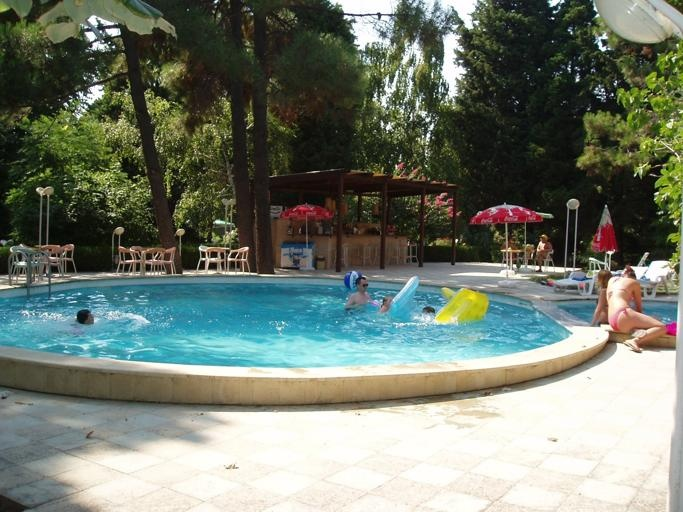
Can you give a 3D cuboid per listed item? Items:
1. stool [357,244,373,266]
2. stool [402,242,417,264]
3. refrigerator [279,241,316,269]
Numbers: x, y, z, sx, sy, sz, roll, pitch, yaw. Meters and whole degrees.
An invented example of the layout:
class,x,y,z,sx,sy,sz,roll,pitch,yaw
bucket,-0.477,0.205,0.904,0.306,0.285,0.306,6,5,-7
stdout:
class,x,y,z,sx,sy,sz,roll,pitch,yaw
stool,0.994,-0.014,20.842,0.276,0.725,0.914,2,4,36
stool,3.006,-0.090,24.385,0.867,1.257,0.874,0,2,8
refrigerator,-1.476,-0.030,19.323,1.406,1.260,0.803,2,4,20
